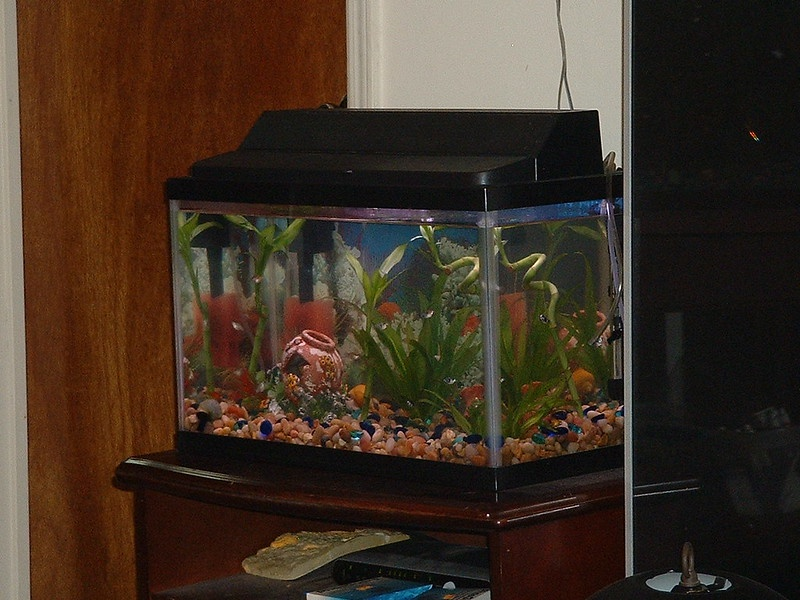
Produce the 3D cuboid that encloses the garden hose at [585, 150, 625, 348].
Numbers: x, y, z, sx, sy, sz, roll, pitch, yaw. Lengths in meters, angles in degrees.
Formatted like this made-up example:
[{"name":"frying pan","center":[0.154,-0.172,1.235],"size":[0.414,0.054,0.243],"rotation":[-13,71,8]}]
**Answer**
[{"name":"garden hose","center":[0.440,-0.098,1.837],"size":[0.050,0.414,0.081],"rotation":[4,-26,4]}]
